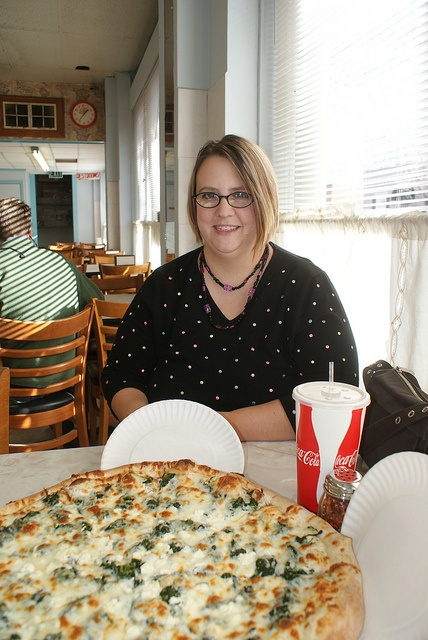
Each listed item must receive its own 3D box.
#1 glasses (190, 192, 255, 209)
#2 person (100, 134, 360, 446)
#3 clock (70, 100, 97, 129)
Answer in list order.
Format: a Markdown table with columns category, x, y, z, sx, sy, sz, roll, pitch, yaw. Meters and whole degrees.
| category | x | y | z | sx | sy | sz | roll | pitch | yaw |
| --- | --- | --- | --- | --- | --- | --- | --- | --- | --- |
| glasses | 0.019 | -0.287 | 1.138 | 0.149 | 0.041 | 0.026 | 5 | 15 | 24 |
| person | 0.026 | -0.063 | 1.176 | 0.638 | 0.739 | 0.469 | 1 | 1 | 15 |
| clock | -2.168 | -3.418 | 7.977 | 0.388 | 0.398 | 0.388 | 4 | 11 | -16 |
